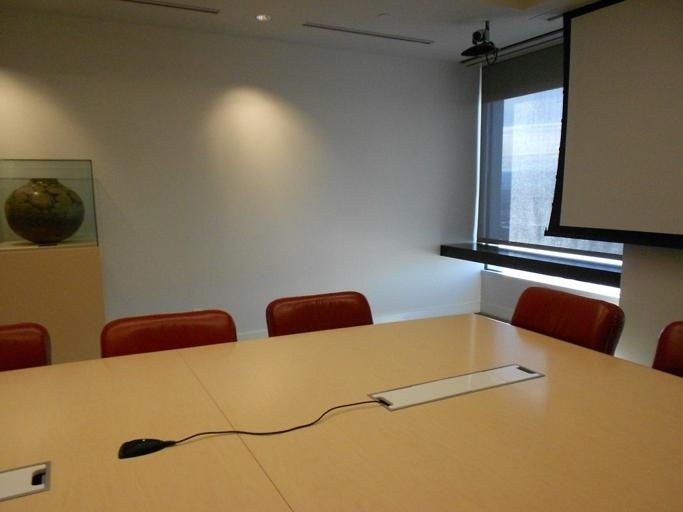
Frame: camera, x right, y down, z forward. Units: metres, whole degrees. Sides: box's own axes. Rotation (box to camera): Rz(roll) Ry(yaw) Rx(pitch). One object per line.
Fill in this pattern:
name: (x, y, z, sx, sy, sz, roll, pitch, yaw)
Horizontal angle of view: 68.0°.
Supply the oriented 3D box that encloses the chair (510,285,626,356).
chair: (1.225, 0.355, 2.712, 0.382, 0.464, 0.555, -9, -16, 42)
